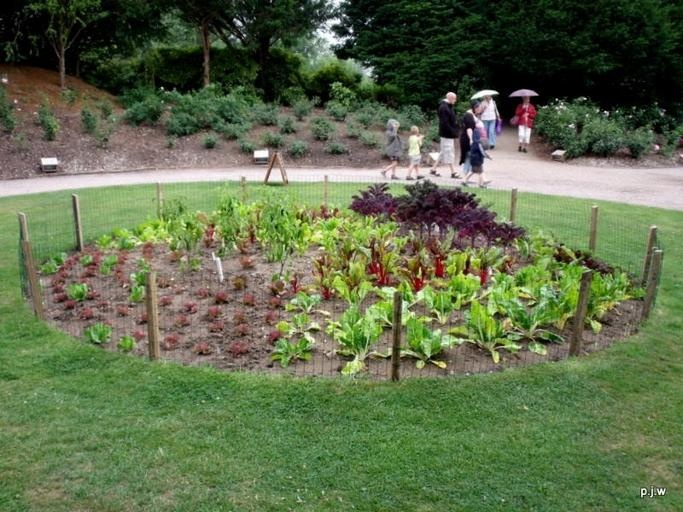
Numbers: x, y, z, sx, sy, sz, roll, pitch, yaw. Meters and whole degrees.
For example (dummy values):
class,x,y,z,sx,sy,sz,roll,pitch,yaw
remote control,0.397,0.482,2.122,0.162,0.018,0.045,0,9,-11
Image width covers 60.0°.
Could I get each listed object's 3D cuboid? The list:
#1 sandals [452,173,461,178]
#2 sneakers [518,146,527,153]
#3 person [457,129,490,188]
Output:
class,x,y,z,sx,sy,sz,roll,pitch,yaw
sandals,3.360,-2.415,17.573,0.123,0.128,0.298,-3,4,-3
sneakers,7.188,-4.191,23.151,0.480,0.206,0.176,0,18,-25
person,3.648,-2.704,16.092,0.657,1.584,1.325,1,9,13
